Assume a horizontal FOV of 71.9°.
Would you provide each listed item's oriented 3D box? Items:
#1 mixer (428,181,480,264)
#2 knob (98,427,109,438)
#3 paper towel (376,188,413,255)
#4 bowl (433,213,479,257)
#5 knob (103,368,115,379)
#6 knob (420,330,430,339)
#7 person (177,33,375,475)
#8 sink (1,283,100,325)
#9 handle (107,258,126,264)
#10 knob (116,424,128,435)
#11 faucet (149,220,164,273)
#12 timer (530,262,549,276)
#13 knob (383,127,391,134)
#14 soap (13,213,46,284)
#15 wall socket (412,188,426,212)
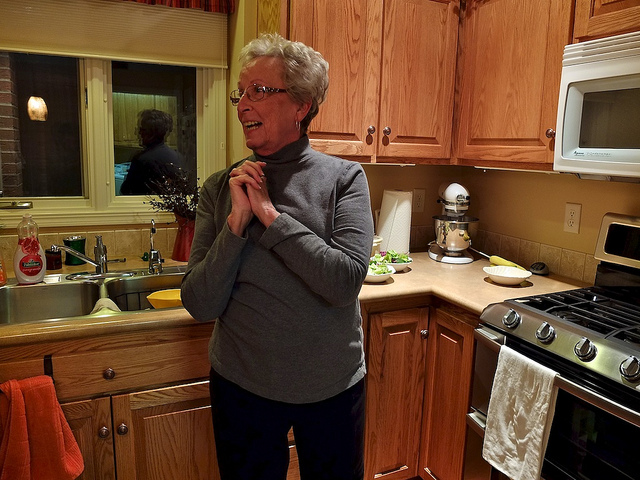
[{"bbox_3d":[0.747,-0.077,2.631,0.256,0.497,0.285,4,16,1],"label":"mixer"},{"bbox_3d":[-0.811,0.724,1.662,0.035,0.038,0.015,-7,14,-28],"label":"knob"},{"bbox_3d":[0.427,-0.106,2.570,0.186,0.357,0.172,-1,12,-4],"label":"paper towel"},{"bbox_3d":[0.802,-0.029,2.641,0.269,0.251,0.304,-1,16,3],"label":"bowl"},{"bbox_3d":[-0.788,0.501,1.657,0.028,0.039,0.011,-12,6,-32],"label":"knob"},{"bbox_3d":[0.515,0.466,2.185,0.034,0.045,0.048,2,-20,-8],"label":"knob"},{"bbox_3d":[-0.143,0.079,1.457,0.610,1.445,0.326,3,12,12],"label":"person"},{"bbox_3d":[-1.226,0.282,2.005,0.286,0.229,0.206,0,3,-21],"label":"sink"},{"bbox_3d":[-1.046,0.104,2.277,0.024,0.025,0.080,2,5,39],"label":"handle"},{"bbox_3d":[-0.754,0.723,1.685,0.040,0.040,0.018,-6,13,-24],"label":"knob"},{"bbox_3d":[-0.827,0.021,2.221,0.069,0.230,0.231,-4,13,-20],"label":"faucet"},{"bbox_3d":[1.168,0.155,2.360,0.069,0.046,0.069,-6,11,-41],"label":"timer"},{"bbox_3d":[0.346,-0.564,2.276,0.052,0.032,0.023,-10,16,-39],"label":"knob"},{"bbox_3d":[-1.301,0.045,1.985,0.130,0.324,0.080,-3,2,-43],"label":"soap"},{"bbox_3d":[0.624,-0.253,2.801,0.106,0.152,0.025,-9,15,-36],"label":"wall socket"}]
